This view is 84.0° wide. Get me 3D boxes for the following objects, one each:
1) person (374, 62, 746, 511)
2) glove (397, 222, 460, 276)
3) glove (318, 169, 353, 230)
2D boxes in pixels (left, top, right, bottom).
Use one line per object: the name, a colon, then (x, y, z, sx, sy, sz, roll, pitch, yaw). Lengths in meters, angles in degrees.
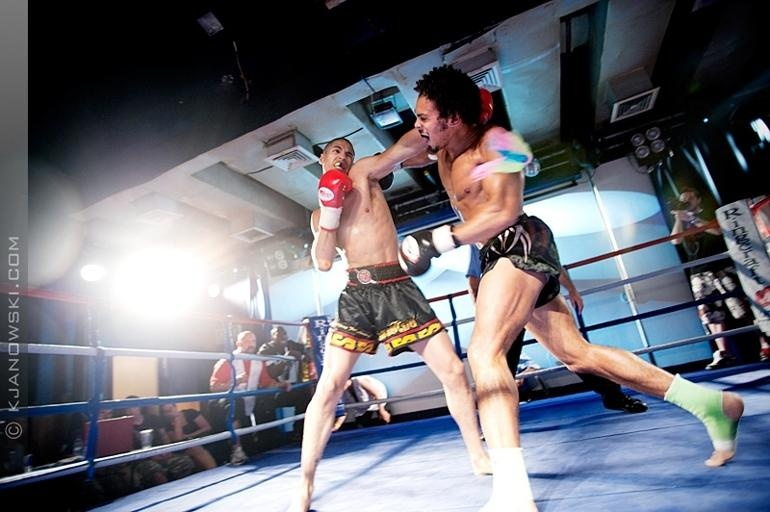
person: (0.842, 0.063, 2.581, 1.425, 2.229, 0.437, -11, -7, -16)
glove: (0.216, -0.028, 2.533, 0.362, 0.157, 0.250, -7, -48, 41)
glove: (-0.340, -0.384, 2.969, 0.315, 0.367, 0.162, -9, 12, -40)
